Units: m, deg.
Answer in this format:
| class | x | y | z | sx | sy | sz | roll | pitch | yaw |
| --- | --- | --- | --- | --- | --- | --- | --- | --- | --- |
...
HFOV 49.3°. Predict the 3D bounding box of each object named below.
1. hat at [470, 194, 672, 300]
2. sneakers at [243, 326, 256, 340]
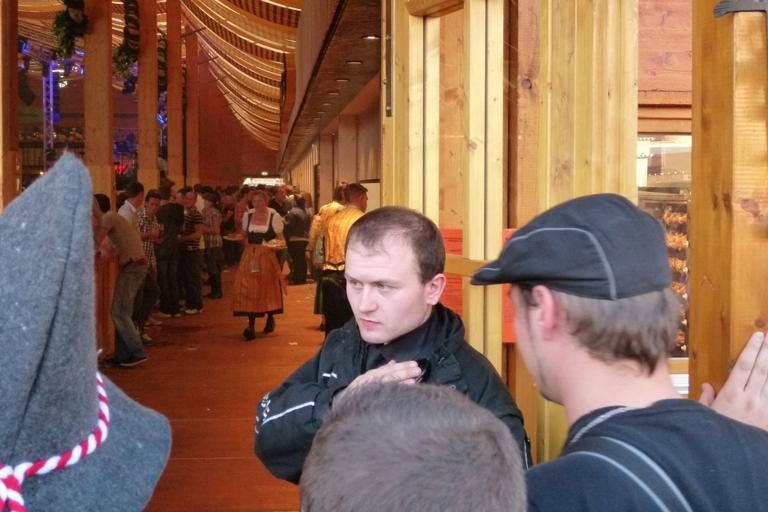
| class | x | y | z | sx | sy | sz | roll | pitch | yaw |
| --- | --- | --- | --- | --- | --- | --- | --- | --- | --- |
| hat | 0.454 | -0.034 | 1.907 | 0.305 | 0.161 | 0.235 | 2 | 1 | 20 |
| sneakers | -1.528 | 0.894 | 9.594 | 0.098 | 0.171 | 0.166 | 2 | -5 | 1 |
